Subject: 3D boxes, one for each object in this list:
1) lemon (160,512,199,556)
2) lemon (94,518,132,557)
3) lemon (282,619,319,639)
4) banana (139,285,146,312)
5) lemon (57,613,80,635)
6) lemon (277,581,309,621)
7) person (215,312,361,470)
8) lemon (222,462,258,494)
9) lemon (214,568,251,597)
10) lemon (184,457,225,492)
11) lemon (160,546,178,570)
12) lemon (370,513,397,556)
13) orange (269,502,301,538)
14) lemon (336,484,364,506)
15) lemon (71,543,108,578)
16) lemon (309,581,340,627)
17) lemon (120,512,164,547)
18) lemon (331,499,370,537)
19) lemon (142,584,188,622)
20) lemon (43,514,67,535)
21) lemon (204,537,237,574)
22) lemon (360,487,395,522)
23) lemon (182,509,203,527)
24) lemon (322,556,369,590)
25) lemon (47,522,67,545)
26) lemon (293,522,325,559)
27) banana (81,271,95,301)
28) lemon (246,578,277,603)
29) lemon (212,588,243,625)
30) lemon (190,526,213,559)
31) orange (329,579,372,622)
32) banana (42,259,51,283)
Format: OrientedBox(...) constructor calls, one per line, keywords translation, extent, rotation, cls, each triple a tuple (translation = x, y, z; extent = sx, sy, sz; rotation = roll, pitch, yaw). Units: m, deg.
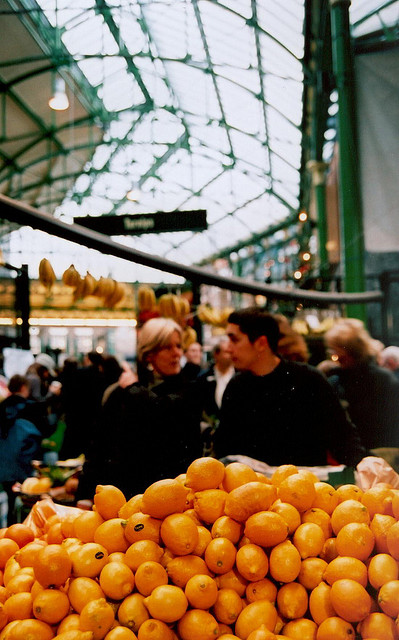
OrientedBox(translation=(-0.065, 0.621, 1.953), extent=(0.114, 0.118, 0.082), rotation=(-5, 0, 10), cls="lemon")
OrientedBox(translation=(-0.264, 0.648, 2.032), extent=(0.124, 0.104, 0.101), rotation=(3, -11, 11), cls="lemon")
OrientedBox(translation=(0.280, 0.852, 1.867), extent=(0.066, 0.051, 0.050), rotation=(-9, -18, 3), cls="lemon")
OrientedBox(translation=(-0.300, -0.107, 3.530), extent=(0.038, 0.138, 0.076), rotation=(-5, 0, -5), cls="banana")
OrientedBox(translation=(-0.361, 0.833, 1.859), extent=(0.050, 0.053, 0.064), rotation=(3, -19, 18), cls="lemon")
OrientedBox(translation=(0.261, 0.782, 1.893), extent=(0.075, 0.076, 0.100), rotation=(-9, -3, 11), cls="lemon")
OrientedBox(translation=(0.410, 0.339, 3.162), extent=(0.324, 0.714, 0.495), rotation=(7, -23, -29), cls="person")
OrientedBox(translation=(0.119, 0.491, 2.132), extent=(0.088, 0.104, 0.085), rotation=(-19, -16, -17), cls="lemon")
OrientedBox(translation=(0.097, 0.740, 1.965), extent=(0.089, 0.077, 0.073), rotation=(-12, 3, 17), cls="lemon")
OrientedBox(translation=(0.029, 0.474, 2.106), extent=(0.118, 0.085, 0.085), rotation=(-8, -9, -37), cls="lemon")
OrientedBox(translation=(-0.094, 0.685, 1.955), extent=(0.051, 0.042, 0.042), rotation=(38, -17, -30), cls="lemon")
OrientedBox(translation=(0.529, 0.624, 1.960), extent=(0.089, 0.109, 0.092), rotation=(-3, -9, 23), cls="lemon")
OrientedBox(translation=(0.247, 0.588, 1.979), extent=(0.064, 0.076, 0.063), rotation=(-28, -15, -38), cls="orange")
OrientedBox(translation=(0.480, 0.551, 2.157), extent=(0.054, 0.065, 0.056), rotation=(28, 3, 15), cls="lemon")
OrientedBox(translation=(-0.320, 0.693, 1.951), extent=(0.097, 0.078, 0.073), rotation=(-24, 22, -6), cls="lemon")
OrientedBox(translation=(0.340, 0.785, 1.881), extent=(0.076, 0.102, 0.079), rotation=(-1, -13, -13), cls="lemon")
OrientedBox(translation=(-0.168, 0.612, 1.996), extent=(0.110, 0.089, 0.081), rotation=(16, -12, 3), cls="lemon")
OrientedBox(translation=(0.443, 0.581, 2.022), extent=(0.104, 0.125, 0.103), rotation=(7, -14, 3), cls="lemon")
OrientedBox(translation=(-0.101, 0.760, 1.839), extent=(0.110, 0.088, 0.082), rotation=(7, -3, -18), cls="lemon")
OrientedBox(translation=(-0.501, 0.702, 2.334), extent=(0.063, 0.087, 0.114), rotation=(9, -42, -4), cls="lemon")
OrientedBox(translation=(0.060, 0.668, 1.972), extent=(0.092, 0.090, 0.109), rotation=(13, -38, 7), cls="lemon")
OrientedBox(translation=(0.546, 0.554, 2.069), extent=(0.080, 0.091, 0.090), rotation=(9, -16, -29), cls="lemon")
OrientedBox(translation=(-0.021, 0.602, 2.067), extent=(0.042, 0.041, 0.040), rotation=(-13, 46, -33), cls="lemon")
OrientedBox(translation=(0.405, 0.693, 1.916), extent=(0.104, 0.082, 0.080), rotation=(-7, -45, -20), cls="lemon")
OrientedBox(translation=(-0.472, 0.699, 2.203), extent=(0.062, 0.076, 0.062), rotation=(1, -1, 5), cls="lemon")
OrientedBox(translation=(0.320, 0.642, 1.978), extent=(0.073, 0.096, 0.076), rotation=(30, -12, -15), cls="lemon")
OrientedBox(translation=(-0.586, -0.185, 3.506), extent=(0.074, 0.141, 0.173), rotation=(-5, 0, -10), cls="banana")
OrientedBox(translation=(0.173, 0.760, 1.903), extent=(0.066, 0.081, 0.067), rotation=(-2, 28, 16), cls="lemon")
OrientedBox(translation=(0.078, 0.794, 1.882), extent=(0.069, 0.072, 0.094), rotation=(-13, -31, 5), cls="lemon")
OrientedBox(translation=(0.002, 0.645, 1.954), extent=(0.059, 0.058, 0.068), rotation=(30, 5, -40), cls="lemon")
OrientedBox(translation=(0.413, 0.777, 1.876), extent=(0.143, 0.108, 0.107), rotation=(19, -26, -27), cls="orange")
OrientedBox(translation=(-0.720, -0.226, 3.157), extent=(0.041, 0.103, 0.126), rotation=(-5, 0, -13), cls="banana")
